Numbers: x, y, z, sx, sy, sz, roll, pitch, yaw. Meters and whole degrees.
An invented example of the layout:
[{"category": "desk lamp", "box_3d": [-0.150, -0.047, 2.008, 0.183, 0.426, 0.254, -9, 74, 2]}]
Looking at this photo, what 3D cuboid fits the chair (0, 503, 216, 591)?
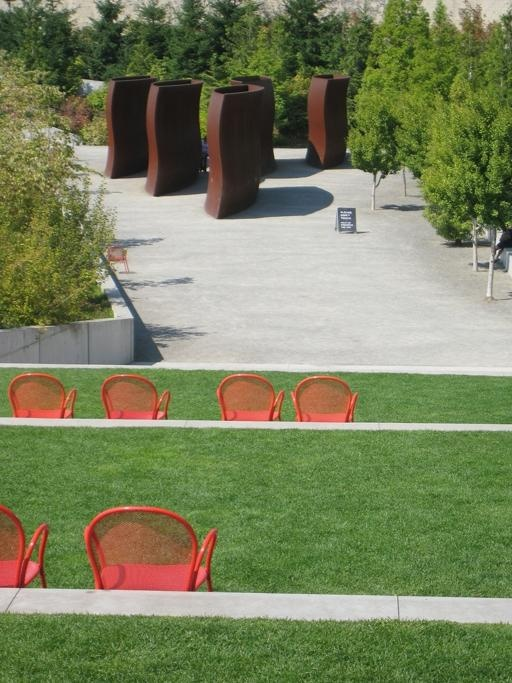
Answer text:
[{"category": "chair", "box_3d": [-1.999, 2.948, 25.149, 2.873, 1.333, 0.724, 1, 7, 2]}]
